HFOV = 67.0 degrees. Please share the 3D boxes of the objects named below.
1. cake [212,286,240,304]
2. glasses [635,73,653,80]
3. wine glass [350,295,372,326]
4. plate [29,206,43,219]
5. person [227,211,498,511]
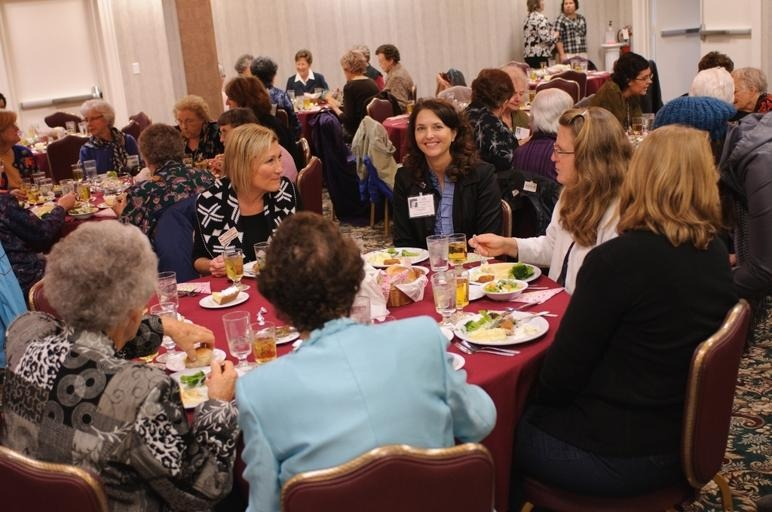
[{"bbox_3d":[-0.725,0.182,2.671,0.081,0.038,0.085,-21,7,-27],"label":"cake"},{"bbox_3d":[2.663,-1.862,6.106,0.121,0.072,0.130,-14,22,-8],"label":"glasses"},{"bbox_3d":[-0.077,0.185,1.969,0.081,0.100,0.084,-1,2,-3],"label":"wine glass"},{"bbox_3d":[-2.543,-0.313,4.287,0.114,0.033,0.119,-5,-18,40],"label":"plate"},{"bbox_3d":[-0.067,0.342,1.812,0.731,1.169,0.614,-11,51,6],"label":"person"}]
